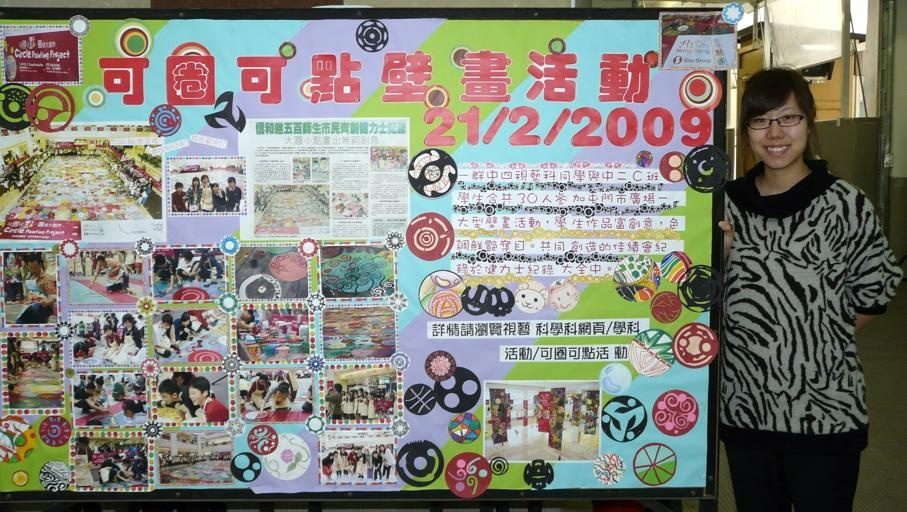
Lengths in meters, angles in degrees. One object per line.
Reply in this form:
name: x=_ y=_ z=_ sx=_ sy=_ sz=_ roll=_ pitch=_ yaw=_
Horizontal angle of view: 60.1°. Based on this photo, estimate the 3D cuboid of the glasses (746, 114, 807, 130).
glasses: x=1.456 y=-0.603 z=3.537 sx=0.227 sy=0.062 sz=0.050 roll=-3 pitch=6 yaw=2
